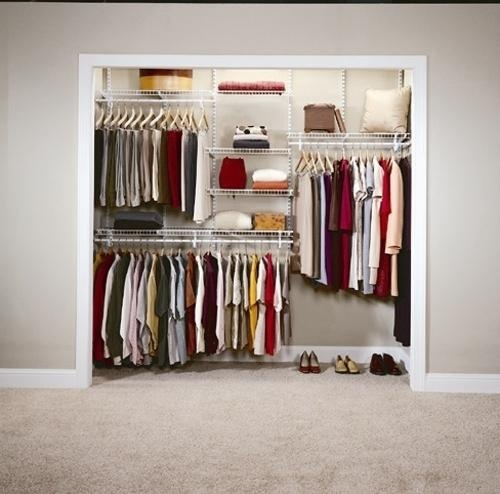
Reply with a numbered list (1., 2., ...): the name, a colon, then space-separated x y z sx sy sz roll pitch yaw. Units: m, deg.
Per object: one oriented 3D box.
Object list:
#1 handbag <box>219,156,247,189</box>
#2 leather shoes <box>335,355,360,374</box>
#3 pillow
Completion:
1. handbag: -0.140 -0.614 4.469 0.236 0.350 0.107 3 -24 -3
2. leather shoes: 0.827 0.992 4.439 0.210 0.120 0.335 1 7 9
3. pillow: 1.122 -1.101 4.284 0.385 0.463 0.147 11 1 40
